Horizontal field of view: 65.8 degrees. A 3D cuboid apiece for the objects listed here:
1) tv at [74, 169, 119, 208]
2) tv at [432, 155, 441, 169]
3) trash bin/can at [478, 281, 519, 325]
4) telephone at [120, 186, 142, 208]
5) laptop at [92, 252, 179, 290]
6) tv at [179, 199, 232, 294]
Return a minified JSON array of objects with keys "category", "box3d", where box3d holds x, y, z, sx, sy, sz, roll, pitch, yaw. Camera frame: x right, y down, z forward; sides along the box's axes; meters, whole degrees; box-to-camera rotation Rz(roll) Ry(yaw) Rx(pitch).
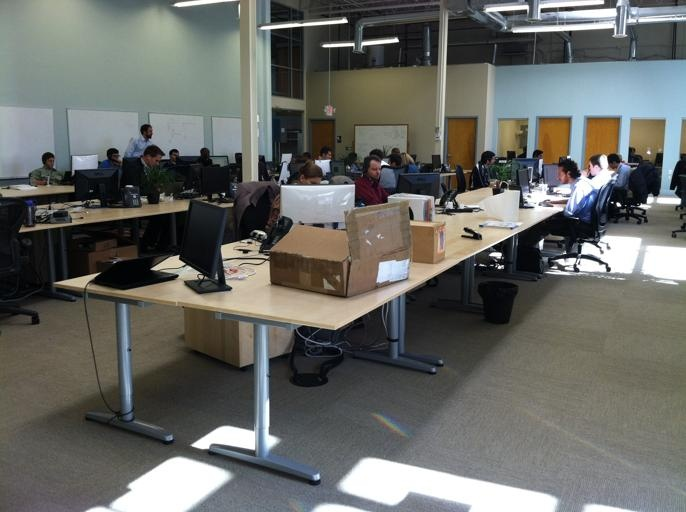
[{"category":"tv","box3d":[-2.975,-0.824,6.390,0.434,0.377,0.144,-7,24,-42]},{"category":"tv","box3d":[2.124,-2.127,12.005,0.031,0.299,0.295,11,19,33]},{"category":"trash bin/can","box3d":[1.407,0.407,4.931,0.354,0.333,0.370,0,6,-4]},{"category":"telephone","box3d":[-2.601,-0.721,6.461,0.243,0.309,0.214,-12,16,-41]},{"category":"laptop","box3d":[-1.253,0.084,3.167,0.387,0.118,0.445,13,19,40]},{"category":"tv","box3d":[-0.800,-0.060,3.028,0.270,0.494,0.594,-4,15,-17]}]
